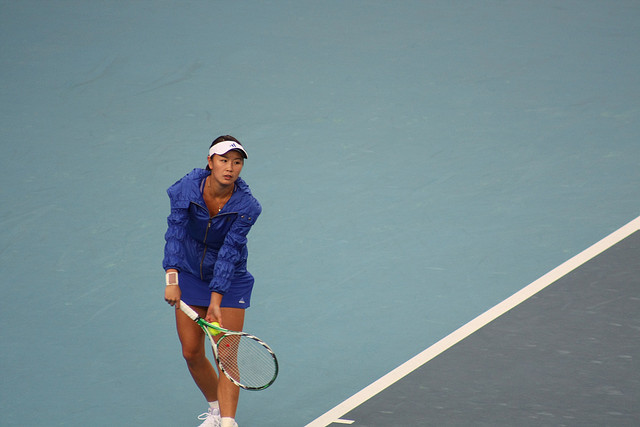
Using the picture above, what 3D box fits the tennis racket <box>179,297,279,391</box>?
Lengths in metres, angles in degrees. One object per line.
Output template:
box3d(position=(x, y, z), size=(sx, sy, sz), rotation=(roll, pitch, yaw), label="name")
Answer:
box3d(position=(-0.545, 0.824, 6.429), size=(0.544, 0.495, 0.238), rotation=(-13, 18, 38), label="tennis racket")
